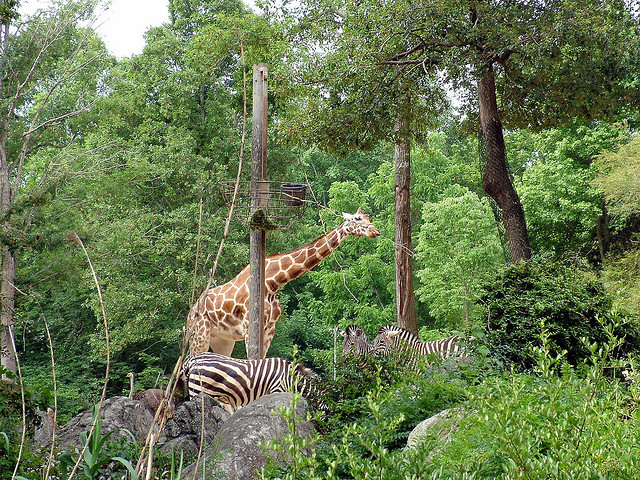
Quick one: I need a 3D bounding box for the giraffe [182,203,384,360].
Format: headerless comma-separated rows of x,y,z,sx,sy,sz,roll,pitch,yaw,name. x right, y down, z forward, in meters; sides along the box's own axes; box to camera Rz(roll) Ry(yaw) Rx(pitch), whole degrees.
-0.825,1.404,14.511,4.437,3.266,1.029,-10,-16,18,giraffe
